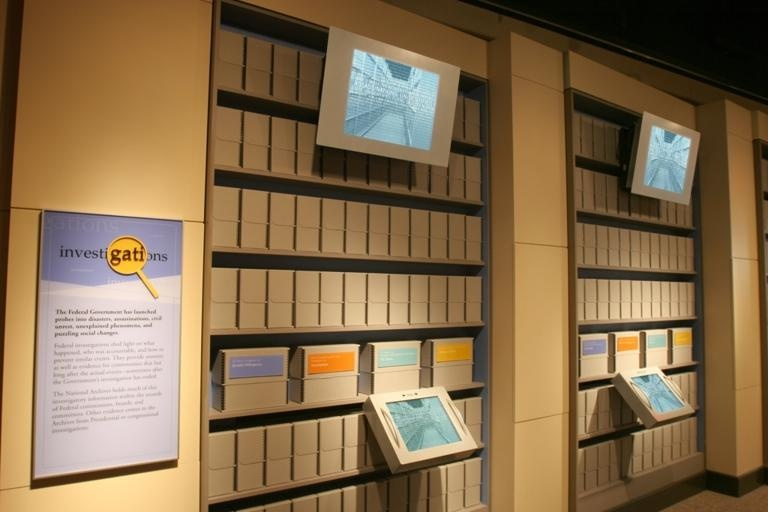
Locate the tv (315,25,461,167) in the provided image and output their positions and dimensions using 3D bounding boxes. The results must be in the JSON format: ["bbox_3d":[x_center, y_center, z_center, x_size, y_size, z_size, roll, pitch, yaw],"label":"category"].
[{"bbox_3d":[-0.015,-1.108,4.153,1.117,0.782,0.038,3,14,-29],"label":"tv"}]

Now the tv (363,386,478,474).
[{"bbox_3d":[0.194,1.211,4.165,0.814,0.564,0.267,-6,-30,-40],"label":"tv"}]

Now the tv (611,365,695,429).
[{"bbox_3d":[2.362,1.215,5.184,0.617,0.459,0.375,0,-9,-36],"label":"tv"}]

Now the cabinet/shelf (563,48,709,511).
[{"bbox_3d":[2.290,0.280,5.397,2.010,3.867,0.931,2,-10,-44],"label":"cabinet/shelf"}]
